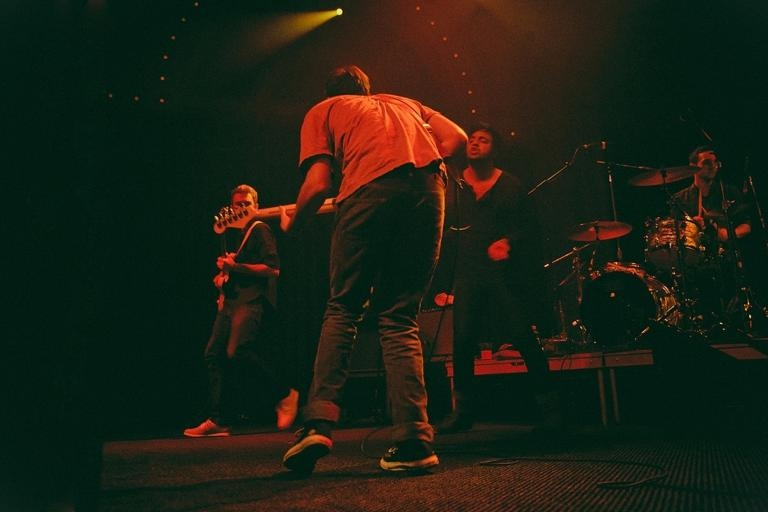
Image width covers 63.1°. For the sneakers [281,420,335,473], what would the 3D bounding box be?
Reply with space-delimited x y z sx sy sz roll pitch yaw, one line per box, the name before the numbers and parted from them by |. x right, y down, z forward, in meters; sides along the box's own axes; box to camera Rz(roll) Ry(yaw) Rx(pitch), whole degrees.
sneakers | -0.393 0.983 3.249 0.248 0.255 0.161 -1 2 -9

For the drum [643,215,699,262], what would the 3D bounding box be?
drum | 2.351 -0.142 5.096 0.345 0.197 0.330 2 -13 0

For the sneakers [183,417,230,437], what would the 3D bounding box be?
sneakers | -1.134 1.094 4.008 0.264 0.107 0.108 12 -21 -27

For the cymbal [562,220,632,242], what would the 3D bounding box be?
cymbal | 1.768 -0.206 5.147 0.417 0.167 0.389 -2 2 -42

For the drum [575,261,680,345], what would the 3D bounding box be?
drum | 1.873 0.371 4.768 0.635 0.609 0.500 1 2 37

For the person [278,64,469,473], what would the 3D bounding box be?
person | -0.051 0.007 3.471 0.995 2.236 0.617 -1 1 -8

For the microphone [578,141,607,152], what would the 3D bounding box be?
microphone | 1.813 -0.945 5.356 0.264 0.065 0.175 0 2 3
